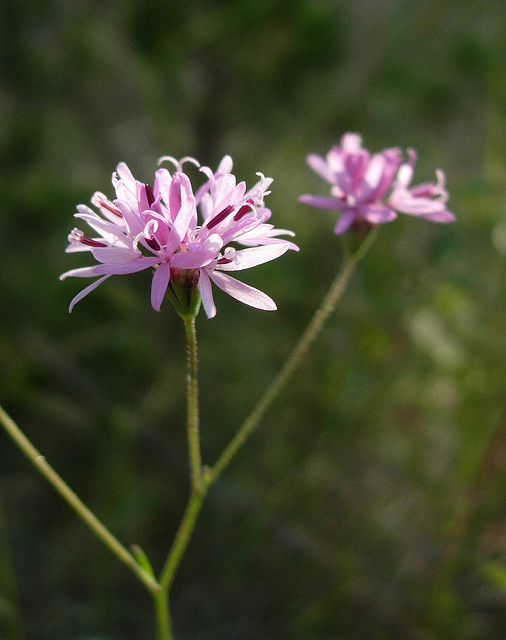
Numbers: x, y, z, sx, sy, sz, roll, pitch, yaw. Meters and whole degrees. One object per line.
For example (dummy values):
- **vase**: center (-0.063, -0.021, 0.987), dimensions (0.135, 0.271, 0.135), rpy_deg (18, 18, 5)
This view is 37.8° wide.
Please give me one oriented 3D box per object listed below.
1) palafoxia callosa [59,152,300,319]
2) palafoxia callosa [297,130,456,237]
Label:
- **palafoxia callosa**: center (-0.106, -0.156, 1.271), dimensions (0.397, 0.150, 0.378), rpy_deg (-7, -23, 35)
- **palafoxia callosa**: center (0.227, -0.246, 1.332), dimensions (0.286, 0.210, 0.109), rpy_deg (4, -72, 2)
